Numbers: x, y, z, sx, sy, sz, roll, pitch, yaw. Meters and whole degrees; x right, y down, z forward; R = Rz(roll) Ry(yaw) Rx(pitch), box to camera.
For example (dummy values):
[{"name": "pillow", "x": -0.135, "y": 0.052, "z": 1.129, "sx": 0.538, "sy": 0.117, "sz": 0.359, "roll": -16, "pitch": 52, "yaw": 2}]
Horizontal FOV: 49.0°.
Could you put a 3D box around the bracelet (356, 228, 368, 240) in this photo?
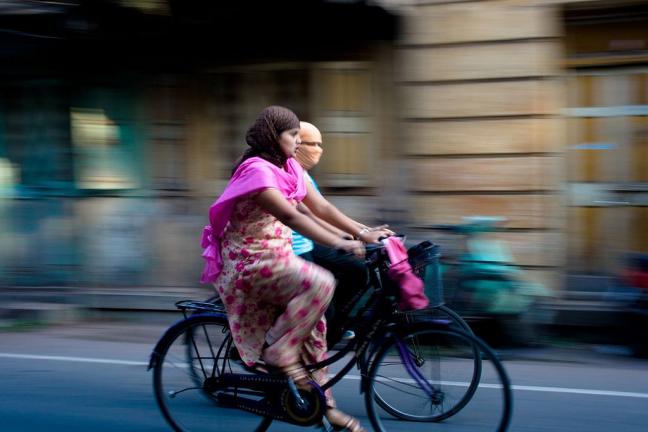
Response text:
[{"name": "bracelet", "x": 0.346, "y": 0.171, "z": 6.899, "sx": 0.031, "sy": 0.103, "sz": 0.115, "roll": 48, "pitch": -34, "yaw": -11}]

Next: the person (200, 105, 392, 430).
[{"name": "person", "x": -0.496, "y": 0.305, "z": 6.648, "sx": 1.277, "sy": 2.645, "sz": 0.472, "roll": 0, "pitch": 4, "yaw": -7}]

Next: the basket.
[{"name": "basket", "x": 0.858, "y": 0.592, "z": 6.633, "sx": 0.925, "sy": 0.607, "sz": 0.652, "roll": -5, "pitch": -3, "yaw": 2}]
